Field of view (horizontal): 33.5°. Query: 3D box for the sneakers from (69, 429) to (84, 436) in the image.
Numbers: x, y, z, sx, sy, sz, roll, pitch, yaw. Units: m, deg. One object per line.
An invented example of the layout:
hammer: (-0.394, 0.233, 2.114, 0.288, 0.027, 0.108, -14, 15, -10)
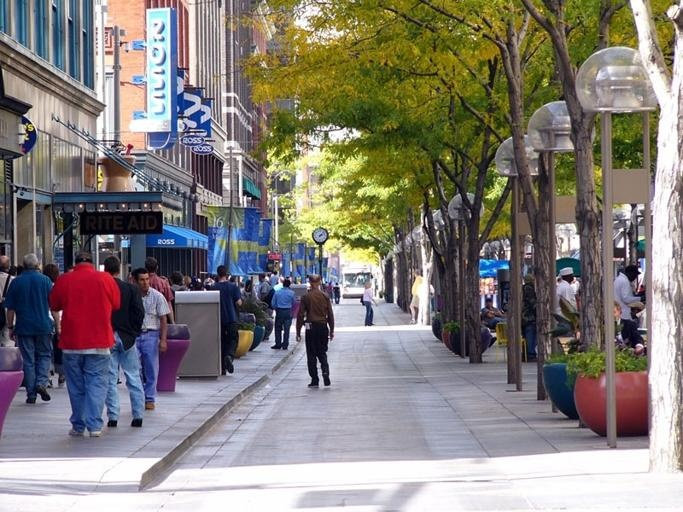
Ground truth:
sneakers: (-3.624, 2.402, 15.507, 0.194, 0.097, 0.172, -1, -2, -11)

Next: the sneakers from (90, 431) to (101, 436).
sneakers: (-3.352, 2.412, 15.440, 0.154, 0.081, 0.184, 0, -2, -15)

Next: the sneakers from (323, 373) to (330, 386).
sneakers: (-0.321, 2.534, 23.121, 0.094, 0.315, 0.115, -4, 4, -5)

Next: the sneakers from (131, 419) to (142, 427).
sneakers: (-2.930, 2.388, 16.284, 0.109, 0.084, 0.115, 1, 3, 0)

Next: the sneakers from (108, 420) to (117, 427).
sneakers: (-3.283, 2.399, 16.213, 0.104, 0.087, 0.110, 0, -1, -7)

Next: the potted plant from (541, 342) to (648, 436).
potted plant: (3.463, 1.751, 15.196, 1.099, 0.782, 1.251, 0, -6, 0)

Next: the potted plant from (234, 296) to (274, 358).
potted plant: (-2.460, 1.877, 31.735, 1.167, 1.158, 1.360, -1, -1, -2)

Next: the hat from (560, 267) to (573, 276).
hat: (5.150, 0.366, 26.176, 0.237, 0.149, 0.348, -6, 1, 0)

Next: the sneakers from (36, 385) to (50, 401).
sneakers: (-5.014, 2.300, 19.028, 0.098, 0.267, 0.111, -22, 41, -8)
